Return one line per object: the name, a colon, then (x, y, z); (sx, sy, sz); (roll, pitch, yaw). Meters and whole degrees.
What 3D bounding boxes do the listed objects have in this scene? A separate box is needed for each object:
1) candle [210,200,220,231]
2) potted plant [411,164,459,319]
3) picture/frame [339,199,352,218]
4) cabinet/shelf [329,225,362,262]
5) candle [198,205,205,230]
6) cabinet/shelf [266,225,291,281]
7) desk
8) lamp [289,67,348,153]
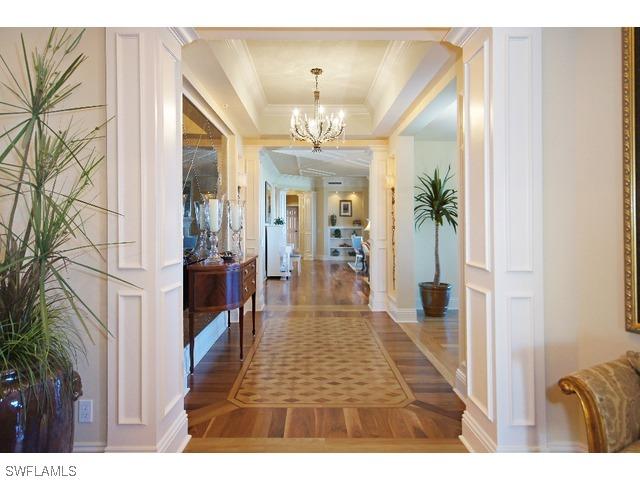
candle: (-1.000, -0.229, 4.213); (0.137, 0.298, 0.081); (-2, 0, -32)
potted plant: (1.611, -0.012, 6.216); (0.597, 2.142, 1.013); (-2, 0, 16)
picture/frame: (0.835, -1.104, 14.996); (0.560, 0.753, 0.050); (0, 3, -7)
cabinet/shelf: (0.774, 0.104, 14.528); (1.070, 1.153, 0.362); (0, -1, -3)
candle: (-1.151, -0.215, 4.340); (0.066, 0.237, 0.424); (-2, -1, -18)
cabinet/shelf: (-0.985, 0.326, 10.174); (0.375, 0.895, 1.208); (0, 1, -1)
desk: (-0.980, 0.752, 4.444); (0.321, 0.683, 1.043); (-1, 1, -4)
lamp: (-0.032, -1.759, 5.934); (0.666, 1.086, 0.685); (-6, 13, -29)
